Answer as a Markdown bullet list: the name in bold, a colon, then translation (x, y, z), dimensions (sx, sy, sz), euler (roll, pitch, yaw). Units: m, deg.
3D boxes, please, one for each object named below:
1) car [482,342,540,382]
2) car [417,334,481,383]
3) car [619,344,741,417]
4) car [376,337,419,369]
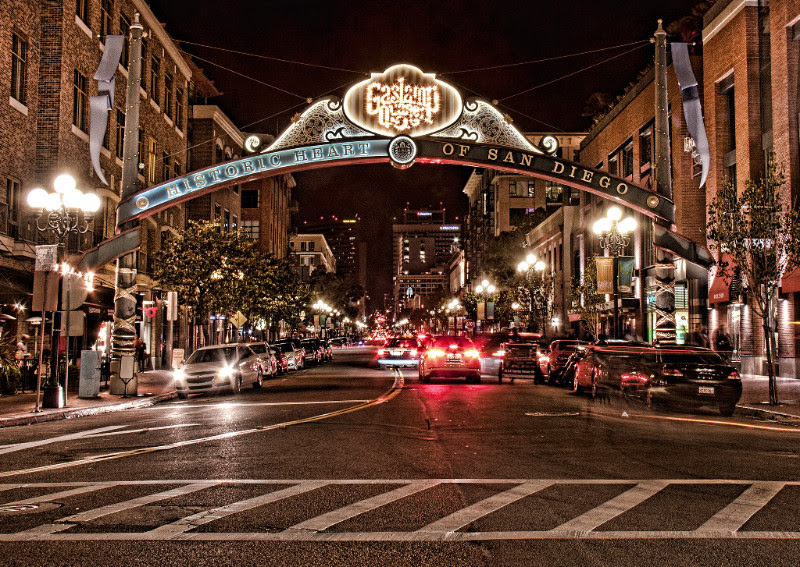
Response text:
- **car**: translation (6.039, 4.046, 41.732), dimensions (1.945, 1.608, 3.187), euler (0, -10, -1)
- **car**: translation (2.159, 3.178, 33.837), dimensions (2.438, 1.940, 1.080), euler (1, -7, -9)
- **car**: translation (8.245, 2.800, 22.850), dimensions (2.806, 2.005, 1.779), euler (-4, -8, 22)
- **car**: translation (-0.088, 4.154, 48.579), dimensions (2.477, 1.908, 1.626), euler (1, -8, -12)
